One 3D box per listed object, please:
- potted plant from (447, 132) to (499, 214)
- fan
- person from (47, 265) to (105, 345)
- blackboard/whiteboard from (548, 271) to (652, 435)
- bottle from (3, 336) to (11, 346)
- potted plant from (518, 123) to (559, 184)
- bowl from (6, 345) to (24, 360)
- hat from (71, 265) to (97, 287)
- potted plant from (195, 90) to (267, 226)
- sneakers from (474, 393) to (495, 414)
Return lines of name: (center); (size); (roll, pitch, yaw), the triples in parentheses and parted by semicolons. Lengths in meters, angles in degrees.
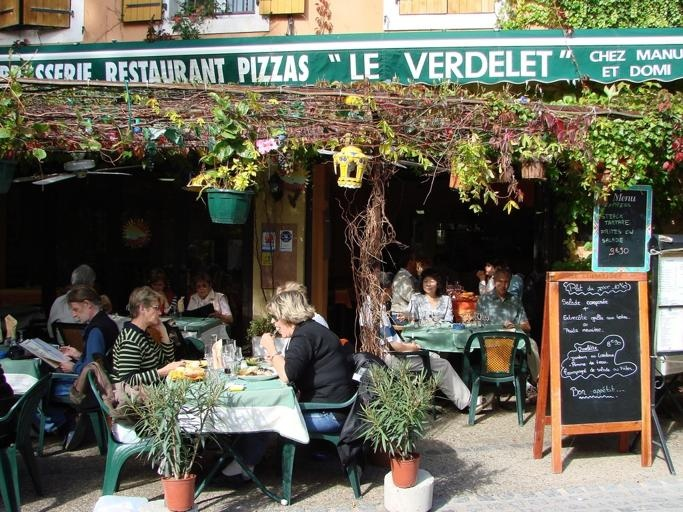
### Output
potted plant: (1.272, -0.856, 6.389); (0.430, 0.557, 0.422); (21, -11, -22)
fan: (-3.362, -1.109, 8.477); (1.242, 0.316, 3.541); (-2, 8, -18)
person: (-3.092, 0.590, 7.560); (0.547, 1.000, 0.806); (1, 11, -31)
blackboard/whiteboard: (2.408, 0.861, 5.952); (0.849, 1.309, 0.294); (-1, 8, -7)
bottle: (-3.535, 0.906, 6.842); (0.054, 0.075, 0.069); (11, 42, -13)
potted plant: (1.972, -1.014, 6.490); (0.419, 0.563, 0.479); (6, -2, 21)
bowl: (-3.192, 0.961, 6.329); (0.116, 0.124, 0.140); (-21, -4, -32)
hat: (-3.239, 0.269, 8.143); (0.245, 0.334, 0.329); (-3, -11, -9)
potted plant: (-1.108, -0.972, 6.417); (0.757, 1.273, 0.811); (1, -1, -17)
sneakers: (1.660, 1.750, 7.506); (0.140, 0.161, 0.395); (-1, 16, 34)
